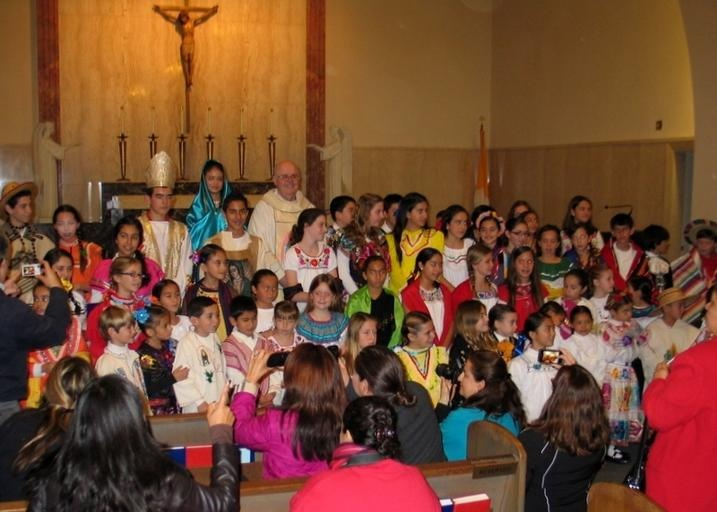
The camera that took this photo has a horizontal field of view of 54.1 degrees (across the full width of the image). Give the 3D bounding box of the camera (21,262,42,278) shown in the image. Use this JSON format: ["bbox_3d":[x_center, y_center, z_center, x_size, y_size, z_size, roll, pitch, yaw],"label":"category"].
[{"bbox_3d":[-1.829,0.078,3.969,0.139,0.107,0.043,2,4,22],"label":"camera"}]

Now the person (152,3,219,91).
[{"bbox_3d":[-2.523,-3.056,10.082,1.053,1.343,0.255,-3,11,-14],"label":"person"}]

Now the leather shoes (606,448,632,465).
[{"bbox_3d":[1.962,1.510,5.313,0.107,0.057,0.147,4,0,-12],"label":"leather shoes"}]

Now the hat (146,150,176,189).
[{"bbox_3d":[-1.724,-0.726,6.137,0.251,0.301,0.345,-1,-7,-21],"label":"hat"}]
